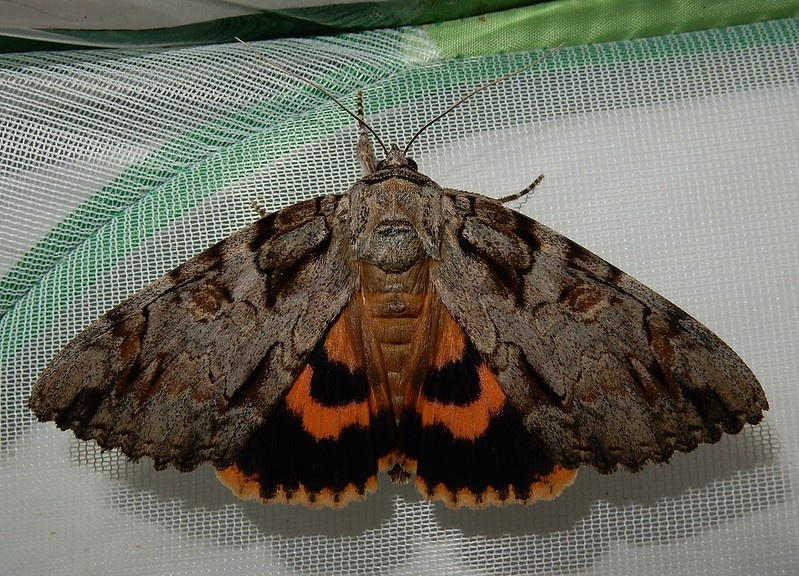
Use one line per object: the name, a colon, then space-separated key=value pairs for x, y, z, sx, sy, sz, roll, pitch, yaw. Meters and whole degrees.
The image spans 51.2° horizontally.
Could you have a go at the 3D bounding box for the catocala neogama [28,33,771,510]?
catocala neogama: x=-0.045 y=-0.074 z=3.387 sx=3.061 sy=0.674 sz=1.812 roll=-1 pitch=81 yaw=2
